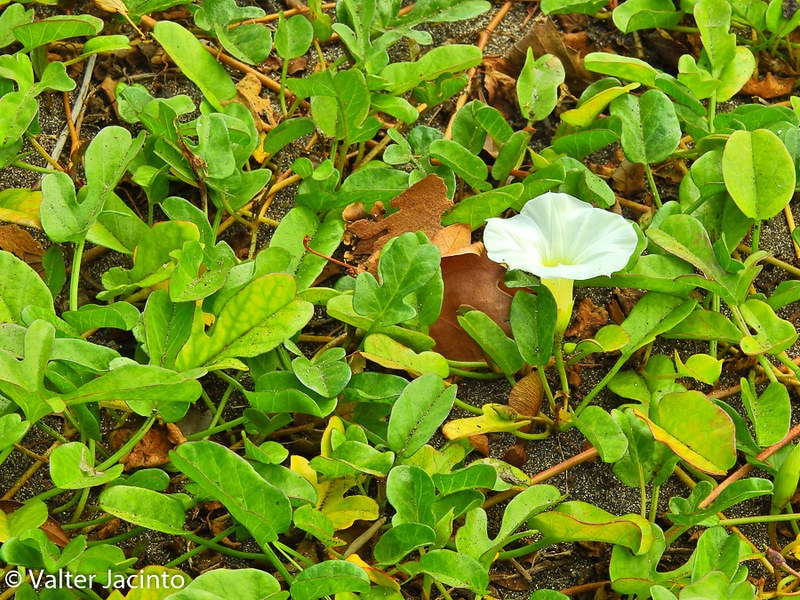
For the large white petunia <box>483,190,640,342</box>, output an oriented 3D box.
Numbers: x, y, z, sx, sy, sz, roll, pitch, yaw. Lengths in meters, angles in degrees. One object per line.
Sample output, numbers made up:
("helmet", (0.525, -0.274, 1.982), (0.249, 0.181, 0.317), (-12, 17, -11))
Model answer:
("large white petunia", (0.400, -0.048, 2.019), (0.331, 0.280, 0.333), (-13, 30, -1))
